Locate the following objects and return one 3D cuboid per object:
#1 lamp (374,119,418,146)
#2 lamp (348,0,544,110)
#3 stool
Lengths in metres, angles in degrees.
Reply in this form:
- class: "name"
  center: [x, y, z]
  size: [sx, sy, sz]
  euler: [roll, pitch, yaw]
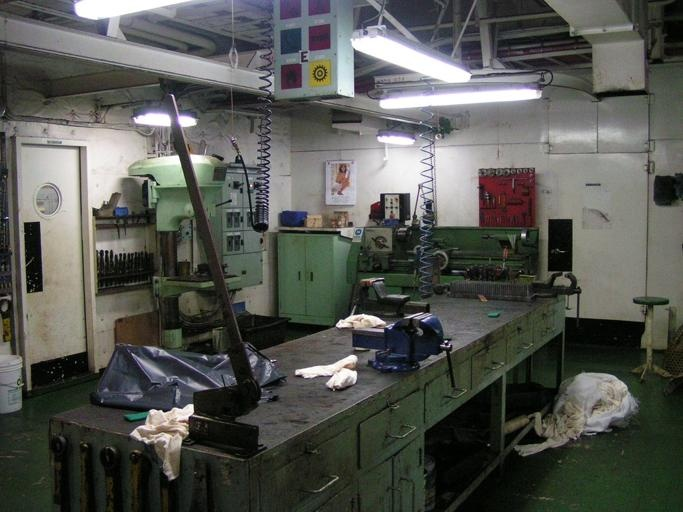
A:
- class: "lamp"
  center: [0.657, -1.605, 8.031]
  size: [0.458, 0.157, 0.327]
  euler: [2, 3, 29]
- class: "lamp"
  center: [0.736, -1.358, 4.372]
  size: [1.316, 0.385, 1.042]
  euler: [-1, 2, -15]
- class: "stool"
  center: [3.395, 0.815, 6.714]
  size: [0.397, 0.892, 1.214]
  euler: [6, 13, 26]
